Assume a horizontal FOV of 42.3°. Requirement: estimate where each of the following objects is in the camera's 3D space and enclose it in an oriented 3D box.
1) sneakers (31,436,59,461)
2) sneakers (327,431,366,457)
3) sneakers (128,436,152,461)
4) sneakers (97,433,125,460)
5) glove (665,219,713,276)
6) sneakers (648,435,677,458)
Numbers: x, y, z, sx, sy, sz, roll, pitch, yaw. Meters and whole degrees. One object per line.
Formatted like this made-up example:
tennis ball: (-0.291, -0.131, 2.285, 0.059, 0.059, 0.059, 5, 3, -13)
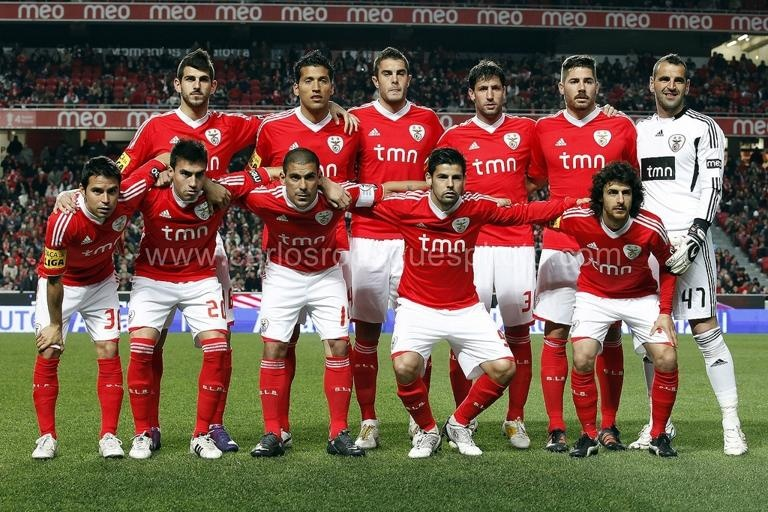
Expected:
sneakers: (-4.287, 2.422, 12.530, 0.289, 0.265, 0.251, -1, 6, -10)
sneakers: (-0.488, 2.387, 12.585, 0.477, 0.292, 0.241, 0, 6, -4)
sneakers: (-3.066, 2.419, 12.531, 0.297, 0.262, 0.277, -2, 7, -22)
sneakers: (-3.467, 2.403, 12.522, 0.424, 0.278, 0.213, 3, 7, 20)
glove: (3.859, -0.093, 12.776, 0.469, 0.794, 0.348, 39, -3, 21)
sneakers: (3.505, 2.405, 12.506, 0.336, 0.244, 0.244, 2, 6, 10)
